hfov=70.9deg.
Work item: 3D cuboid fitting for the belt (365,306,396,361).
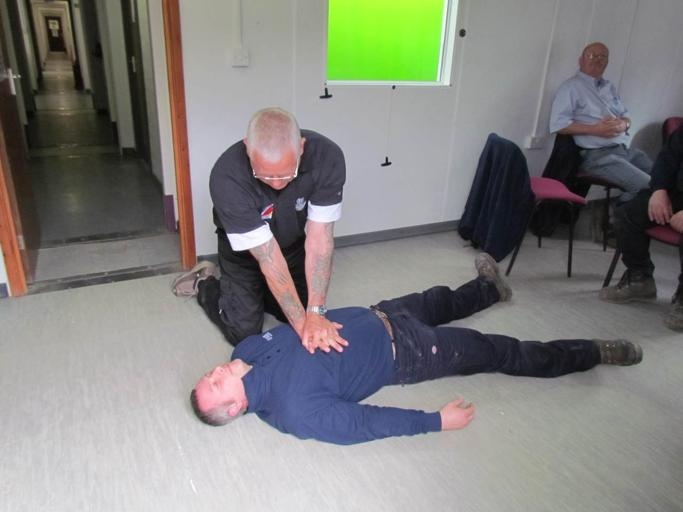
[{"bbox_3d":[0.201,0.369,2.334,0.047,0.195,0.186,-21,36,-16],"label":"belt"}]

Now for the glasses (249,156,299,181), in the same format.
[{"bbox_3d":[-0.279,-0.376,2.111,0.196,0.110,0.129,-10,28,-21],"label":"glasses"}]

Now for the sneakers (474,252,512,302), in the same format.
[{"bbox_3d":[0.999,0.144,3.149,0.111,0.117,0.298,-33,64,12],"label":"sneakers"}]

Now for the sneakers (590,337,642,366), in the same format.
[{"bbox_3d":[1.508,0.520,2.657,0.324,0.131,0.144,-2,-2,-8],"label":"sneakers"}]

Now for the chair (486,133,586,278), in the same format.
[{"bbox_3d":[1.551,-0.333,3.709,0.631,0.979,0.498,3,7,24],"label":"chair"}]

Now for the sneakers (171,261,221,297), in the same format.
[{"bbox_3d":[-0.945,0.144,3.197,0.310,0.172,0.141,-41,58,-16],"label":"sneakers"}]

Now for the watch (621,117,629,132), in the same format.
[{"bbox_3d":[2.385,-1.092,3.998,0.031,0.123,0.117,-7,29,33],"label":"watch"}]

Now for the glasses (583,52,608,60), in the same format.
[{"bbox_3d":[2.104,-1.649,3.935,0.175,0.056,0.067,5,26,9],"label":"glasses"}]
